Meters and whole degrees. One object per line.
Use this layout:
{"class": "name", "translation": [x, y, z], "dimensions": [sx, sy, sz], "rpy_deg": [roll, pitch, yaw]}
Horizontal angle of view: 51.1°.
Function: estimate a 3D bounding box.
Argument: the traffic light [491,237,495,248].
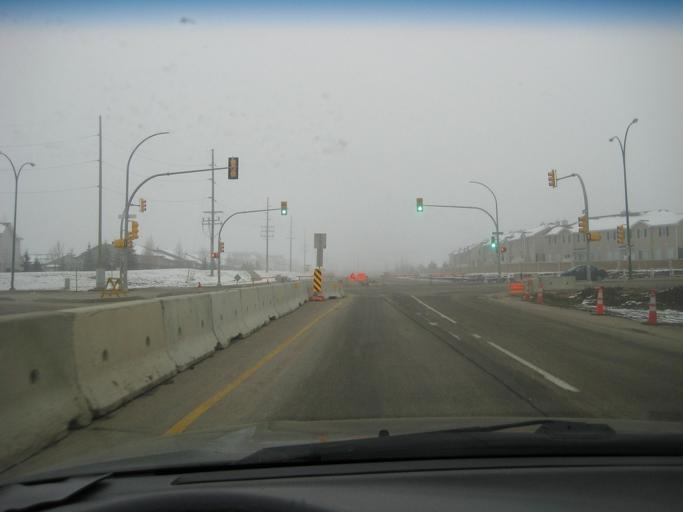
{"class": "traffic light", "translation": [10.167, -0.880, 47.773], "dimensions": [0.272, 0.693, 0.684], "rpy_deg": [-1, -1, 12]}
